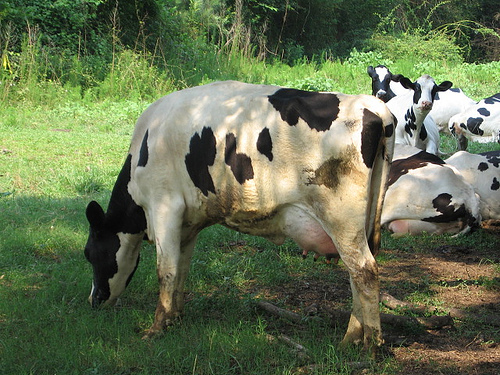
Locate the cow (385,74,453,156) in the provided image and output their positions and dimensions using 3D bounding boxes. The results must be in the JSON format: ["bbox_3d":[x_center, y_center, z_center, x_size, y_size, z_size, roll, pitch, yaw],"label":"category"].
[{"bbox_3d":[4.053,-1.644,13.361,1.201,1.691,3.241,1,-1,3],"label":"cow"}]

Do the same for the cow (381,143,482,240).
[{"bbox_3d":[2.706,-0.094,9.037,1.184,1.062,1.980,-1,10,-9],"label":"cow"}]
